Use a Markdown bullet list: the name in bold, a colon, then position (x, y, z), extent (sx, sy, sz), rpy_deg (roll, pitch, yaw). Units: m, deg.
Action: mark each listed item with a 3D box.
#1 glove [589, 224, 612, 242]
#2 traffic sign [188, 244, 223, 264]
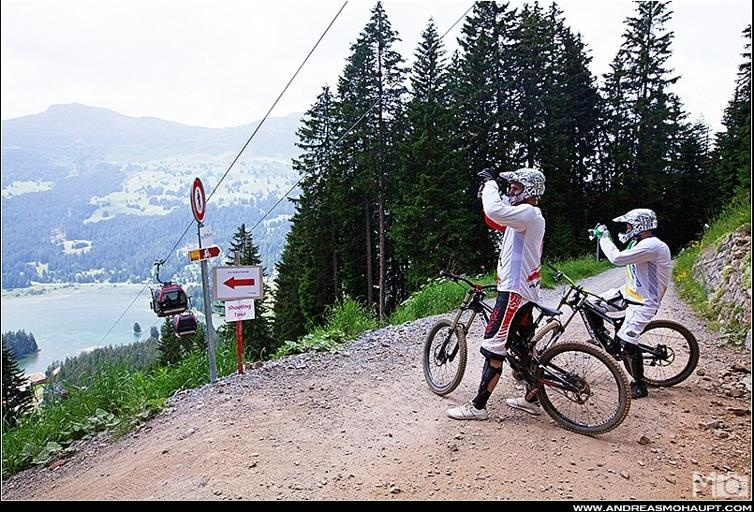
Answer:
- **glove**: position (4.952, -0.505, 12.415), extent (0.494, 0.397, 0.242), rpy_deg (2, -10, 14)
- **traffic sign**: position (-4.143, -0.047, 13.405), extent (0.731, 0.374, 0.380), rpy_deg (-5, 5, -18)
